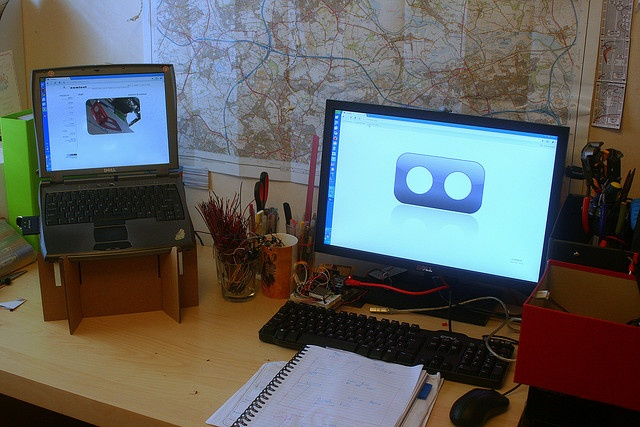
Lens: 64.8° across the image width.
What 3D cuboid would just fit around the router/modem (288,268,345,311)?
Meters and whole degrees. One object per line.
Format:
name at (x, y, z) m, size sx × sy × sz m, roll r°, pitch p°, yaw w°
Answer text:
router/modem at (-0.014, 0.226, 1.467) m, size 0.091 × 0.061 × 0.122 m, roll 17°, pitch 32°, yaw 34°

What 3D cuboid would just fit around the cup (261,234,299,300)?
cup at (-0.122, 0.167, 1.514) m, size 0.110 × 0.174 × 0.182 m, roll 4°, pitch 10°, yaw 5°

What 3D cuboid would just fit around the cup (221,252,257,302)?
cup at (-0.235, 0.189, 1.528) m, size 0.118 × 0.135 × 0.125 m, roll 1°, pitch 12°, yaw 0°
